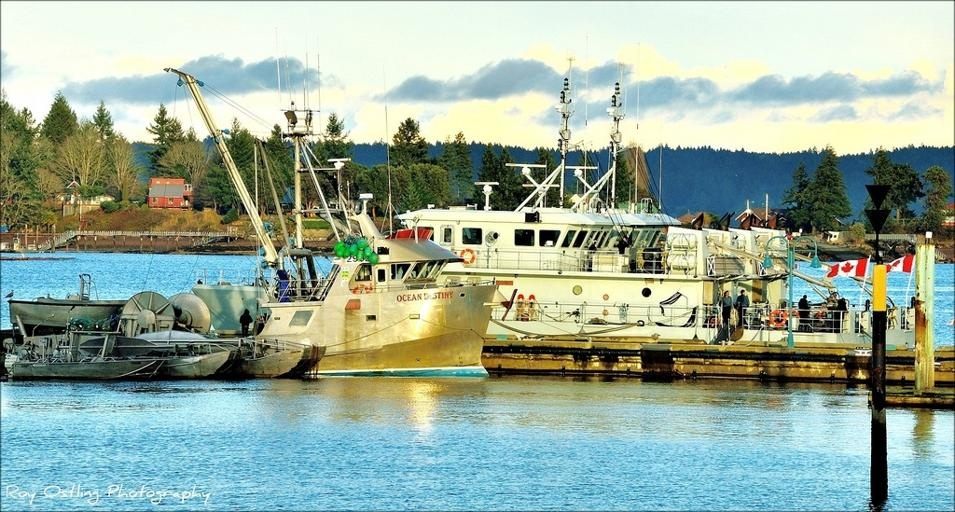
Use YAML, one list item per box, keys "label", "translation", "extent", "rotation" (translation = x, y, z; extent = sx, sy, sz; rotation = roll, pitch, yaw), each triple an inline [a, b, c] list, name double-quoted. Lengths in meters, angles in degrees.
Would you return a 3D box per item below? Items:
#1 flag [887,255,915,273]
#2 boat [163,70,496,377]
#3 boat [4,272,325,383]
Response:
- label: "flag"
  translation: [40.196, 0.794, 169.650]
  extent: [2.543, 1.745, 0.301]
  rotation: [4, 4, 17]
- label: "boat"
  translation: [-7.882, 4.497, 155.547]
  extent: [17.322, 11.769, 2.410]
  rotation: [-1, 1, 3]
- label: "boat"
  translation: [-29.845, 6.919, 162.170]
  extent: [32.208, 11.597, 10.398]
  rotation: [2, -6, 2]
